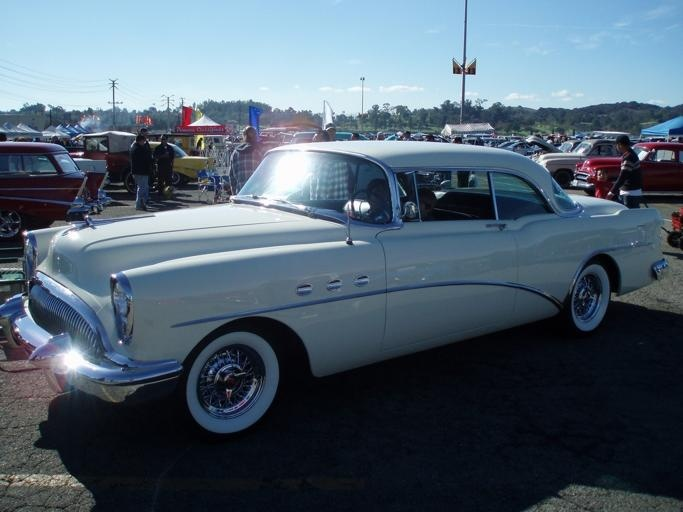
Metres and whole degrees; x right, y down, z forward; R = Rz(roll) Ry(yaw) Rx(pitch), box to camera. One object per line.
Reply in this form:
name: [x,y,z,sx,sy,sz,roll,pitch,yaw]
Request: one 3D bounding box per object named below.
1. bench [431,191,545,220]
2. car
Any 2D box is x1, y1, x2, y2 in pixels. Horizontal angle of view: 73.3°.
bench: [1.326,-0.435,4.309,1.323,0.248,0.186,1,0,-24]
car: [0.319,0.104,4.396,5.293,1.673,2.249,-4,5,-29]
